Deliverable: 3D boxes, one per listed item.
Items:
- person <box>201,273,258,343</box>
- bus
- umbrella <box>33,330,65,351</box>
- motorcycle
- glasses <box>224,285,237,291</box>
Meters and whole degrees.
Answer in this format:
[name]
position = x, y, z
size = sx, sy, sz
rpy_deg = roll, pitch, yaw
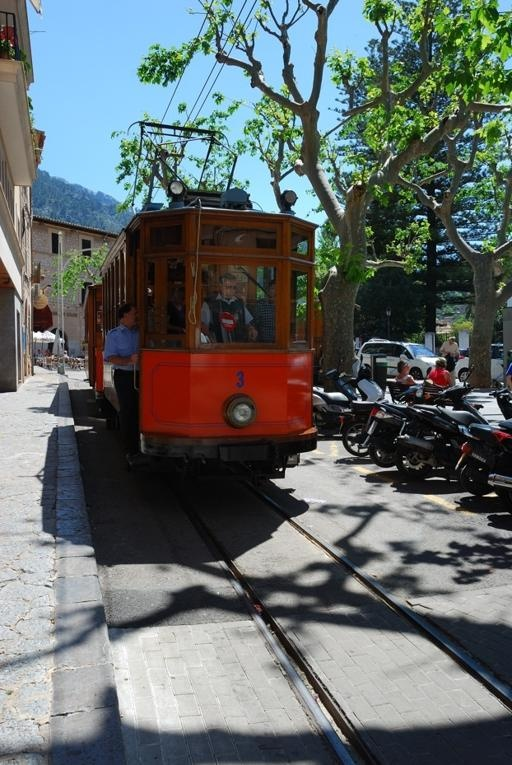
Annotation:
[person]
position = -0.294, -0.747, 6.017
size = 0.614, 0.796, 0.416
rpy_deg = -4, 4, -31
[bus]
position = -0.609, -0.661, 6.758
size = 1.726, 3.351, 2.165
rpy_deg = -5, 5, -32
[umbrella]
position = -17.018, -3.521, 50.214
size = 2.782, 1.073, 2.834
rpy_deg = 2, 7, 19
[motorcycle]
position = 2.821, 0.491, 9.125
size = 2.812, 1.737, 1.488
rpy_deg = 4, 2, -21
[glasses]
position = -0.262, -0.926, 6.008
size = 0.080, 0.059, 0.047
rpy_deg = 0, -2, -42
